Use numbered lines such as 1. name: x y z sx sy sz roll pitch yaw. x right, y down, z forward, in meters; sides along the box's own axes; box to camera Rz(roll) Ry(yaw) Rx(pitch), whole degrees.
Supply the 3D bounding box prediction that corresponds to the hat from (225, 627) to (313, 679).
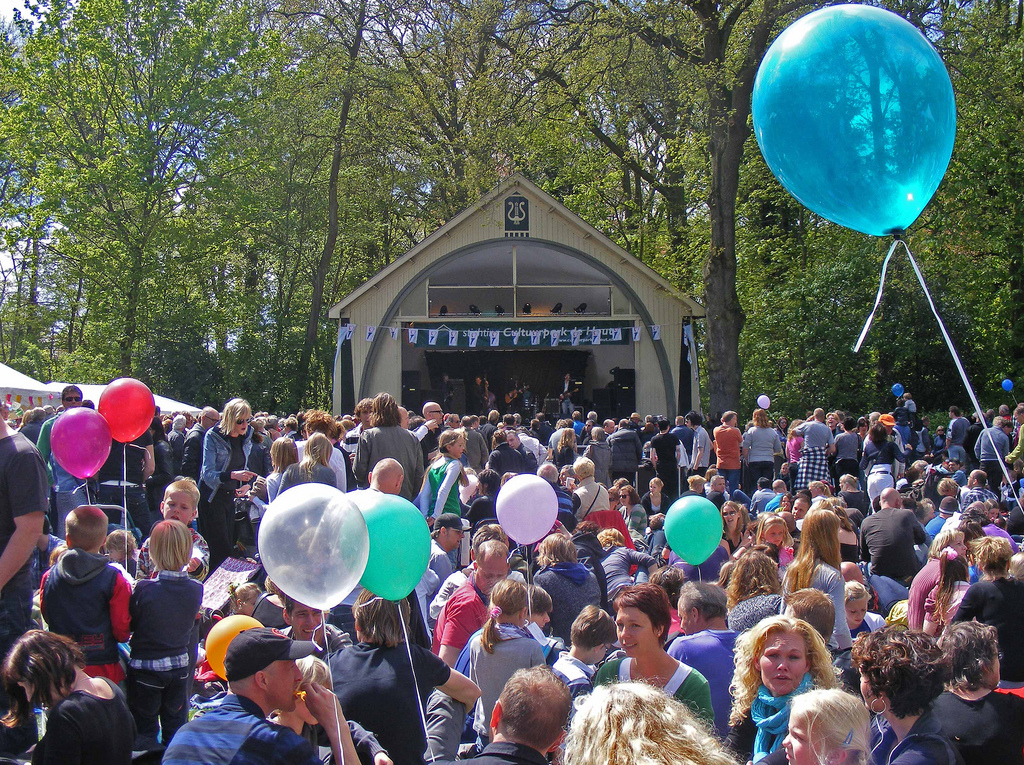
1. hat: -1.729 1.855 9.439 0.461 0.289 0.315 -6 6 -20
